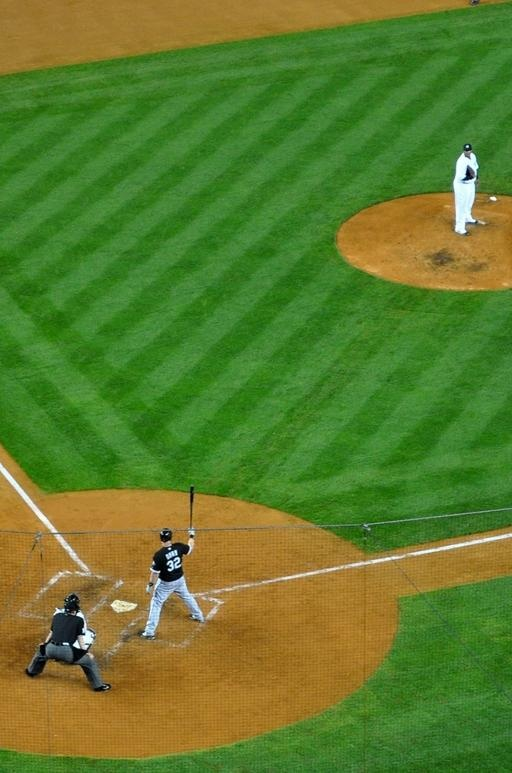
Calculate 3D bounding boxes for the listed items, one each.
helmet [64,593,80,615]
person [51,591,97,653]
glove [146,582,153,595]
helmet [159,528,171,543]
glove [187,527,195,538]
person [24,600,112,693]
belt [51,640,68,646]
[{"bbox_3d":[-2.450,2.891,24.827,0.203,0.243,0.231,0,-1,-7],"label":"helmet"},{"bbox_3d":[-2.455,3.193,25.176,0.615,0.762,0.438,13,-4,6],"label":"person"},{"bbox_3d":[-1.478,2.776,25.892,0.087,0.118,0.272,4,-10,0],"label":"glove"},{"bbox_3d":[-1.237,2.051,25.601,0.138,0.158,0.276,2,-22,-6],"label":"helmet"},{"bbox_3d":[-0.934,2.090,26.747,0.158,0.075,0.287,0,-16,-5],"label":"glove"},{"bbox_3d":[-2.541,3.552,25.255,0.827,0.990,0.579,13,24,2],"label":"person"},{"bbox_3d":[-2.588,3.367,24.659,0.254,0.081,0.071,-10,-23,21],"label":"belt"}]
